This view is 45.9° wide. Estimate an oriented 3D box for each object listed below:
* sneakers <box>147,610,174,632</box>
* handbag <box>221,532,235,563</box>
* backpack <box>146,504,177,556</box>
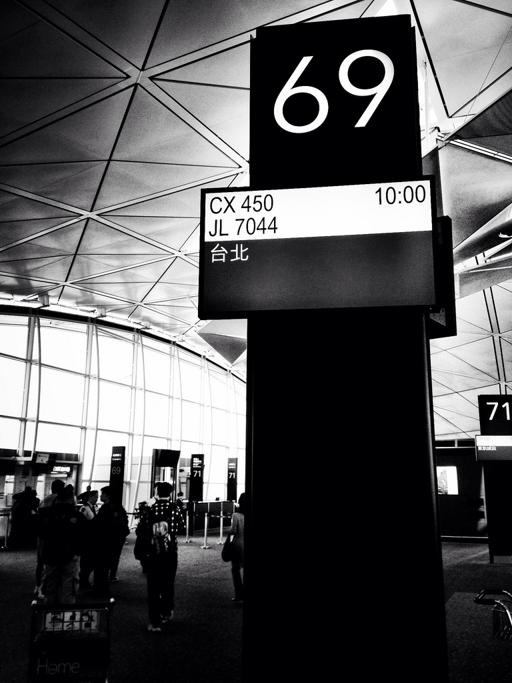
[{"bbox_3d":[-1.377,4.100,8.739,0.138,0.238,0.500,5,2,10],"label":"sneakers"},{"bbox_3d":[-0.448,3.472,10.070,0.146,0.700,0.348,3,-9,-7],"label":"handbag"},{"bbox_3d":[-1.417,2.831,8.988,0.473,0.951,0.477,0,-33,-3],"label":"backpack"}]
